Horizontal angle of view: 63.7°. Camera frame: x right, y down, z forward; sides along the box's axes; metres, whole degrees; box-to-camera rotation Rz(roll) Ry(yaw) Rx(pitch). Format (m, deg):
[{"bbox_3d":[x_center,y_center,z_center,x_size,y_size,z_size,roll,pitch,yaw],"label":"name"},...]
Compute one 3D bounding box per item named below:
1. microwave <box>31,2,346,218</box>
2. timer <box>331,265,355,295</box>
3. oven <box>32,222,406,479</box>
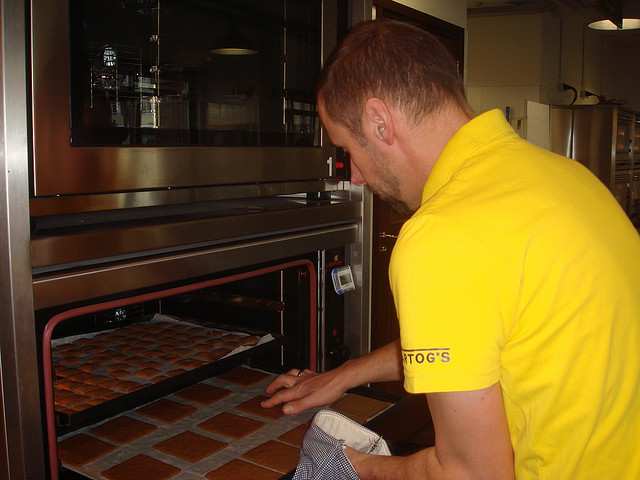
[{"bbox_3d":[-0.310,-0.301,1.171,0.301,0.363,0.568,10,17,36],"label":"microwave"},{"bbox_3d":[0.075,0.129,1.678,0.020,0.085,0.087,-9,0,39],"label":"timer"},{"bbox_3d":[-0.482,0.168,1.560,0.805,0.486,0.779,3,8,27],"label":"oven"}]
